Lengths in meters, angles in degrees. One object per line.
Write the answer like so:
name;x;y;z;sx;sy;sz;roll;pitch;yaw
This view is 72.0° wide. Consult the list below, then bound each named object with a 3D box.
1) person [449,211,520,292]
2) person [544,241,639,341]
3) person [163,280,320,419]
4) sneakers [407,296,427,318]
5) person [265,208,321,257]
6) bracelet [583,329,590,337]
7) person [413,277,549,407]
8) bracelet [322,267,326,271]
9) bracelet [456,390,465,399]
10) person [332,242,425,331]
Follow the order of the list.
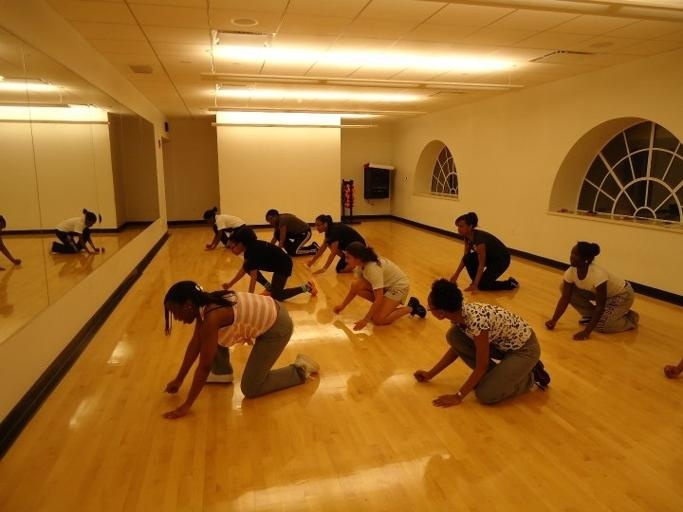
person;2.119;-0.097;7.125;0.947;1.230;0.690;-2;5;16
person;2.880;0.327;5.401;0.898;1.137;0.743;-7;14;3
person;-0.701;0.505;4.129;1.513;1.316;0.711;-5;28;-18
sneakers;0.936;0.631;5.855;0.314;0.158;0.142;47;19;-7
person;-0.919;-0.399;8.726;1.249;0.951;0.618;2;50;-8
bracelet;2.723;0.841;5.215;0.060;0.121;0.092;7;15;28
person;1.246;0.687;4.060;1.121;1.104;0.576;-3;10;6
bracelet;-0.268;0.206;7.288;0.055;0.021;0.057;-11;6;40
bracelet;1.017;1.173;4.004;0.049;0.024;0.070;27;-3;-7
person;0.501;0.321;5.590;0.970;0.994;0.779;-5;14;-19
